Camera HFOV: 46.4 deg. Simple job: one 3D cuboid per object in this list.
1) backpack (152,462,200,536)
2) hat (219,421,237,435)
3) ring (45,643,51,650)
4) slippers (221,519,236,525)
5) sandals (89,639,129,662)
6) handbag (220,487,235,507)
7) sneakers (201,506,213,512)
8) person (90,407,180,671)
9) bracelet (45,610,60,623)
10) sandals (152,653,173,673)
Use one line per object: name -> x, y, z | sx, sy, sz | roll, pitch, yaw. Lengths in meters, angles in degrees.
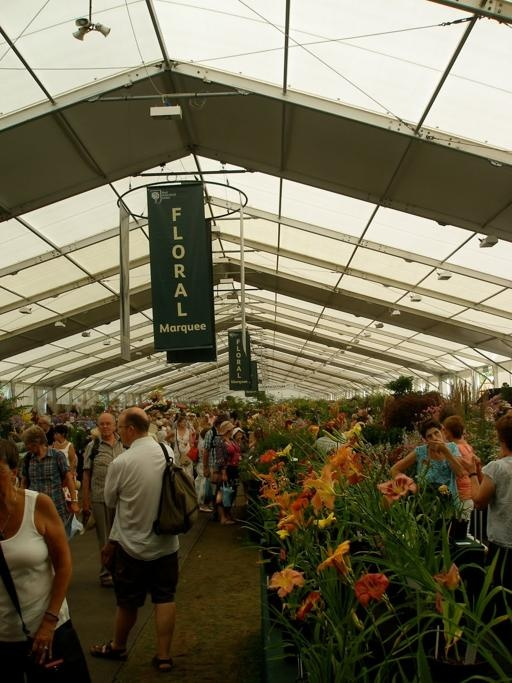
backpack -> -0.510, 0.992, 3.815 | 0.268, 0.460, 0.307 | -1, -7, -6
hat -> -0.438, 1.342, 9.335 | 0.224, 0.116, 0.212 | -33, 4, 9
ring -> -0.799, 1.178, 2.325 | 0.010, 0.027, 0.024 | -7, -8, 35
slippers -> -0.437, 2.799, 9.365 | 0.144, 0.044, 0.080 | -1, -1, 28
sandals -> -0.975, 2.035, 3.983 | 0.258, 0.102, 0.112 | 3, -19, 13
handbag -> -0.443, 2.423, 9.401 | 0.192, 0.365, 0.347 | -1, -6, -3
sneakers -> -0.886, 2.992, 10.694 | 0.245, 0.091, 0.081 | -5, -15, 20
person -> -0.759, 1.251, 3.861 | 0.526, 1.649, 0.331 | -4, -7, 15
bracelet -> -0.799, 1.077, 2.346 | 0.051, 0.025, 0.040 | 25, 0, -2
sandals -> -0.580, 2.017, 3.763 | 0.128, 0.102, 0.122 | -1, -6, -9
